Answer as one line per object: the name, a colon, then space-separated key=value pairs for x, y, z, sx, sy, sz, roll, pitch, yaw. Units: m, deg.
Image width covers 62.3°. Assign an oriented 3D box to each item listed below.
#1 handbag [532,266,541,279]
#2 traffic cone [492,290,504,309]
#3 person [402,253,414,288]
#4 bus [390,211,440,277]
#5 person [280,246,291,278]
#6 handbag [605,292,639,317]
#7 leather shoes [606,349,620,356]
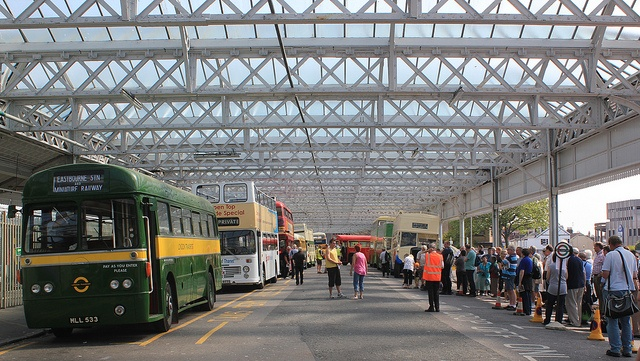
handbag: x=8.739 y=3.670 z=21.327 sx=0.227 sy=0.297 sz=0.427 roll=-13 pitch=-53 yaw=1
traffic cone: x=7.838 y=5.312 z=23.374 sx=0.639 sy=0.687 sz=0.618 roll=3 pitch=-9 yaw=0
person: x=5.297 y=5.425 z=31.821 sx=0.690 sy=2.001 sz=1.572 roll=-4 pitch=-13 yaw=8
bus: x=7.484 y=4.462 z=43.783 sx=3.384 sy=3.823 sz=5.339 roll=1 pitch=-3 yaw=-4
person: x=-2.641 y=6.057 z=39.941 sx=0.834 sy=1.041 sz=2.757 roll=-18 pitch=-16 yaw=-9
handbag: x=8.950 y=3.677 z=15.711 sx=0.947 sy=0.859 sz=0.399 roll=-5 pitch=-19 yaw=16
leather shoes: x=8.619 y=5.088 z=15.590 sx=0.395 sy=0.163 sz=0.155 roll=6 pitch=-2 yaw=13
